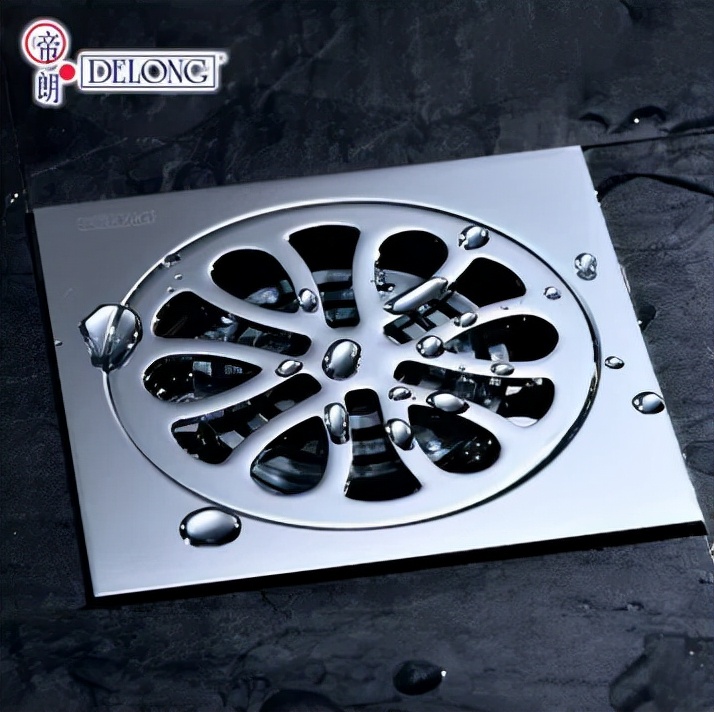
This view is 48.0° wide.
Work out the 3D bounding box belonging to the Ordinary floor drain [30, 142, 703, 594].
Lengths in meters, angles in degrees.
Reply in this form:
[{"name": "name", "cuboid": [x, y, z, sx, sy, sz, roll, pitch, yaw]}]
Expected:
[{"name": "Ordinary floor drain", "cuboid": [-0.004, -0.010, 0.581, 0.448, 0.190, 0.303, -10, 85, 0]}]
